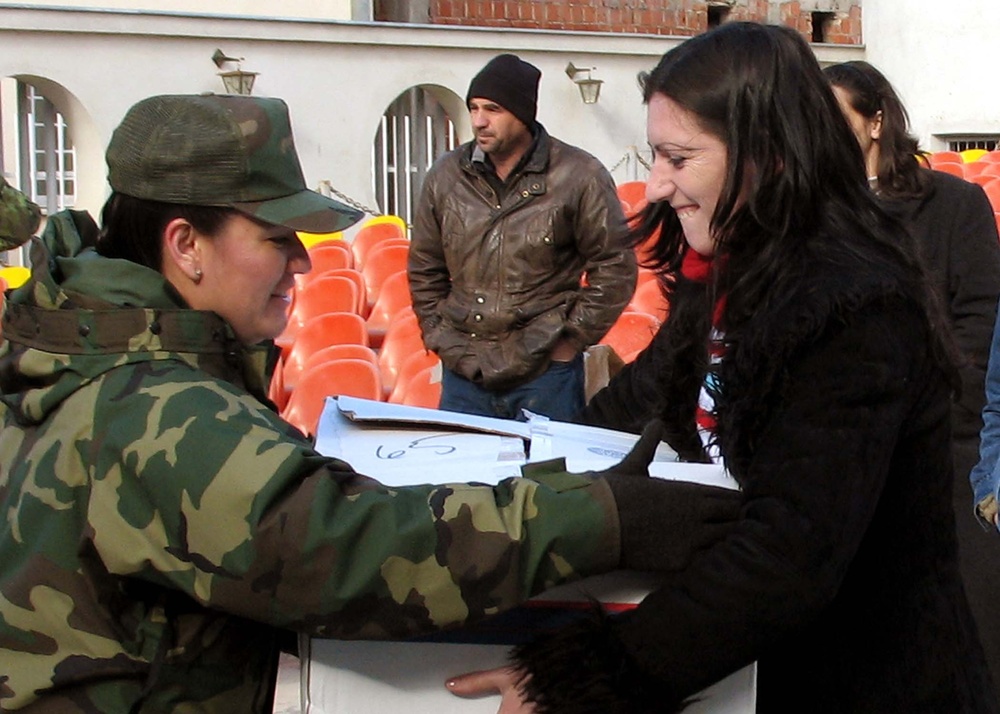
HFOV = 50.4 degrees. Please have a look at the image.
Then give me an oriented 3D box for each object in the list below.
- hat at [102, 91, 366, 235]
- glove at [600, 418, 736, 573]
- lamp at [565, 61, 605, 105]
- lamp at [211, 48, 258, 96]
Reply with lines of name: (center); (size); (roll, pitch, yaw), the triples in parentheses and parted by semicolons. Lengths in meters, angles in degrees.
hat: (-0.559, -0.422, 2.243); (0.507, 0.275, 0.344); (2, 18, -5)
glove: (0.313, 0.290, 1.959); (0.194, 0.057, 0.214); (1, 39, 1)
lamp: (1.254, -4.053, 15.716); (0.536, 0.451, 0.506); (6, 8, 37)
lamp: (-3.575, -3.763, 14.126); (0.539, 0.595, 0.471); (11, 13, -1)
